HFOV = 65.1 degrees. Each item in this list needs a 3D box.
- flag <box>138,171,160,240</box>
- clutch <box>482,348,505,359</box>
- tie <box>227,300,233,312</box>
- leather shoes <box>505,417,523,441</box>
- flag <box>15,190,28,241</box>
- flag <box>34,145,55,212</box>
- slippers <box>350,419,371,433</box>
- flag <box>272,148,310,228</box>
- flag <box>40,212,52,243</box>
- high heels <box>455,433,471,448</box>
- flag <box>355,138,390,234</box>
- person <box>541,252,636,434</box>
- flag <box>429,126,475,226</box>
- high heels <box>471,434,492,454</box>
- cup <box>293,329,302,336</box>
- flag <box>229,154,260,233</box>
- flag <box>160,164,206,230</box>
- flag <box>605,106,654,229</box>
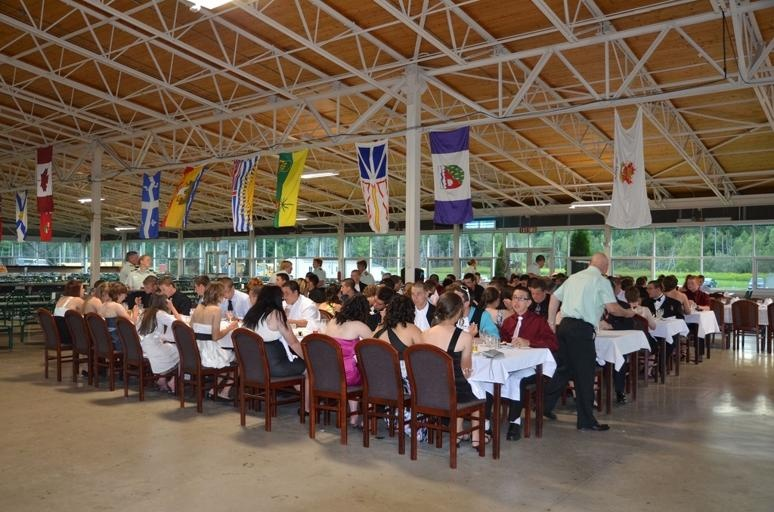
[{"bbox_3d":[-6.793,-1.430,17.351,0.608,1.938,1.503,-4,10,-21],"label":"flag"},{"bbox_3d":[1.417,1.272,7.917,0.257,0.075,0.171,1,9,4],"label":"clutch"},{"bbox_3d":[-2.850,0.901,11.021,0.108,0.180,0.045,-1,-7,5],"label":"tie"},{"bbox_3d":[1.774,2.331,8.307,0.205,0.265,0.408,2,9,12],"label":"leather shoes"},{"bbox_3d":[-11.603,-1.282,19.215,0.316,1.488,1.373,-6,11,-28],"label":"flag"},{"bbox_3d":[-10.022,-2.212,17.678,0.706,1.911,0.366,5,11,25],"label":"flag"},{"bbox_3d":[-0.332,2.332,8.413,0.162,0.153,0.440,4,-4,-39],"label":"slippers"},{"bbox_3d":[-2.303,-1.607,14.487,0.791,1.826,1.275,-2,10,-9],"label":"flag"},{"bbox_3d":[-10.187,-0.871,18.081,0.297,0.893,0.818,-6,11,-29],"label":"flag"},{"bbox_3d":[1.034,2.414,7.982,0.138,0.156,0.420,-5,-12,25],"label":"high heels"},{"bbox_3d":[-0.241,-1.499,13.150,0.558,1.967,1.095,-3,10,-14],"label":"flag"},{"bbox_3d":[2.987,1.229,9.040,1.057,2.481,1.135,-1,5,-38],"label":"person"},{"bbox_3d":[1.339,-1.640,12.427,0.831,1.993,0.901,1,10,3],"label":"flag"},{"bbox_3d":[1.249,2.409,7.910,0.140,0.159,0.404,-1,-1,15],"label":"high heels"},{"bbox_3d":[-1.375,1.187,9.458,0.154,0.082,0.108,-1,11,-6],"label":"cup"},{"bbox_3d":[-3.577,-1.550,15.335,0.633,1.913,1.347,-2,10,-13],"label":"flag"},{"bbox_3d":[-5.580,-1.623,16.682,1.039,1.702,1.278,-8,13,-40],"label":"flag"},{"bbox_3d":[4.720,-1.630,11.572,0.721,2.289,1.315,4,10,19],"label":"flag"}]
